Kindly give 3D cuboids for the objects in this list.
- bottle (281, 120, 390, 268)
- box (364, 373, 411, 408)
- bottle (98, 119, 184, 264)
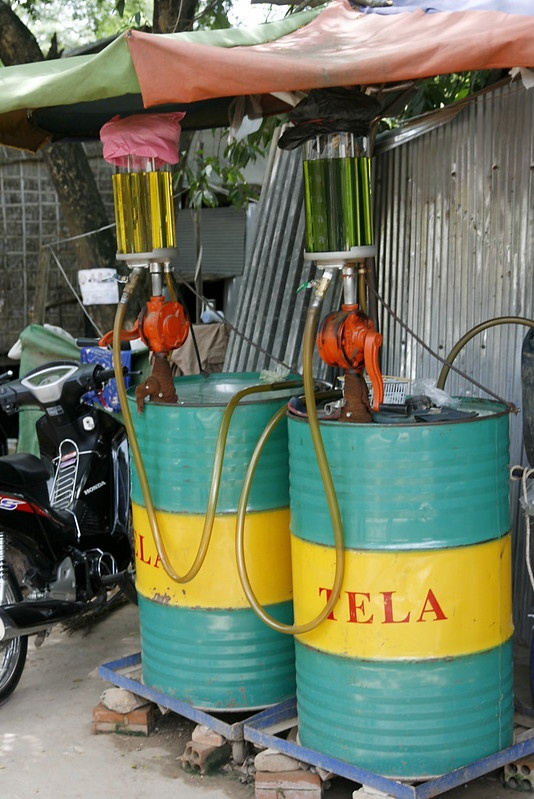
[{"bbox_3d":[0.200,-0.593,2.498,0.232,0.357,0.215,-5,13,1],"label":"bottle"},{"bbox_3d":[0.402,-0.032,2.829,0.138,0.097,0.122,1,1,35],"label":"box"},{"bbox_3d":[-0.389,-0.706,2.881,0.308,0.393,0.308,-12,6,1],"label":"bottle"}]
